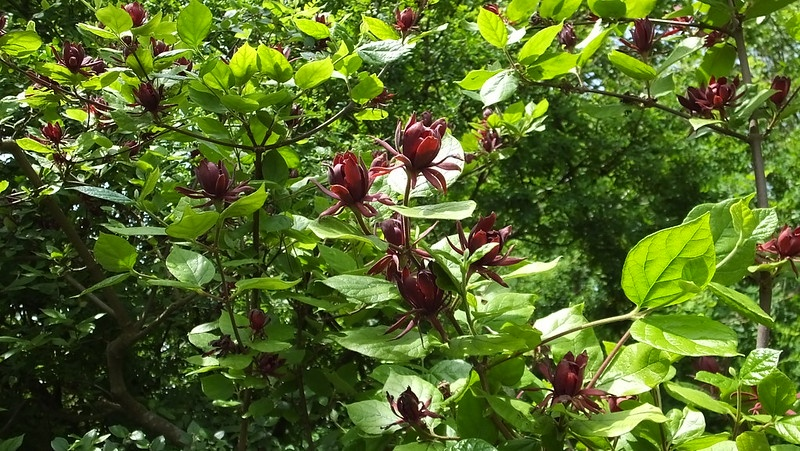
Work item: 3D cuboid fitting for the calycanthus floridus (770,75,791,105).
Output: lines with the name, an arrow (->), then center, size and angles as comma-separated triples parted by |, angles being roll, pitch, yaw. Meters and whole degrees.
calycanthus floridus -> 1.863, -0.652, 3.875 | 0.085, 0.146, 0.197 | 2, -4, 24

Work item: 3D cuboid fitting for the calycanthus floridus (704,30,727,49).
calycanthus floridus -> 1.559, -0.926, 3.914 | 0.082, 0.070, 0.032 | -26, -2, 40

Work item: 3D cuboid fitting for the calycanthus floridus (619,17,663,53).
calycanthus floridus -> 1.209, -0.963, 4.017 | 0.172, 0.222, 0.274 | 2, -4, 16
